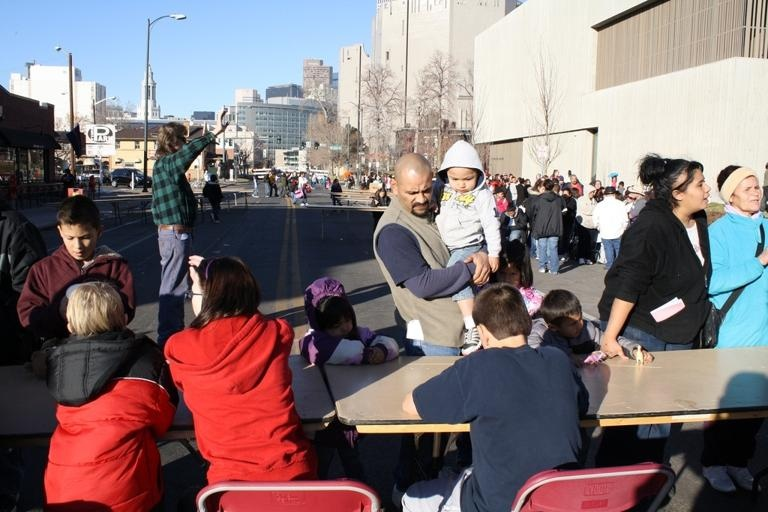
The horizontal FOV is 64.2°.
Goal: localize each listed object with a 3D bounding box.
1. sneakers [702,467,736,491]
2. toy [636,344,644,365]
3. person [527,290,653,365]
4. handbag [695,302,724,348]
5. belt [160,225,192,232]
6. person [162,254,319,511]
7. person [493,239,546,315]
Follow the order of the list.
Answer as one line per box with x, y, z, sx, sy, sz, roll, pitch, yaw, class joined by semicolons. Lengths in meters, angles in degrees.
2.959;1.968;5.428;0.108;0.119;0.312;-36;4;0;sneakers
2.097;0.814;5.053;0.046;0.155;0.042;4;-18;-7;toy
1.758;0.650;5.235;1.068;0.561;0.613;2;24;36;person
2.861;0.593;5.437;0.192;0.421;0.403;-1;2;14;handbag
-2.474;-0.331;7.295;0.351;0.099;0.243;-3;9;-22;belt
-0.914;0.761;4.063;0.885;1.433;0.584;5;8;32;person
1.258;0.304;5.783;0.374;0.800;0.505;-13;11;-38;person
